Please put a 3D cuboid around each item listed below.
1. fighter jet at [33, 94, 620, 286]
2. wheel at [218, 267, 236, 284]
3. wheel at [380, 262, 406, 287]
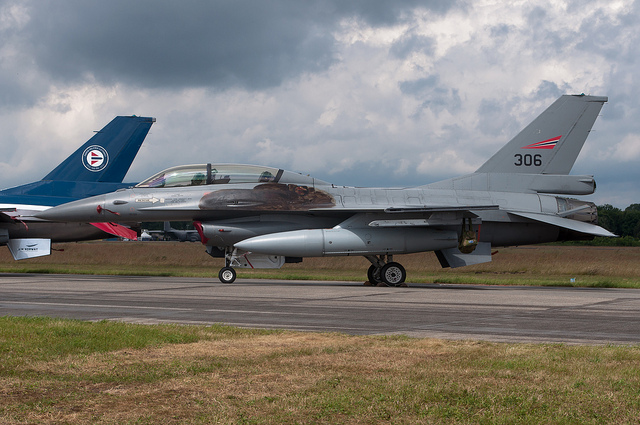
[{"bbox_3d":[0.581,-0.853,22.804,20.471,4.128,11.540,-1,12,4],"label":"fighter jet"},{"bbox_3d":[-3.403,2.307,21.048,0.535,0.574,0.401,3,-5,-8],"label":"wheel"},{"bbox_3d":[2.619,2.301,21.175,1.484,0.831,0.395,-3,-2,2],"label":"wheel"}]
